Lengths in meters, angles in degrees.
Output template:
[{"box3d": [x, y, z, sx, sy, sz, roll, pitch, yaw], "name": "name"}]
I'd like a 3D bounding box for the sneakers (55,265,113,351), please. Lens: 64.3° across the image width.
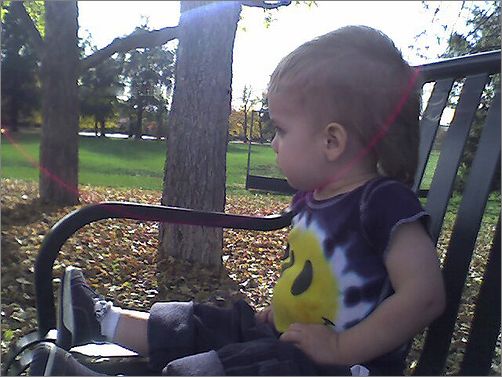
[{"box3d": [-0.648, 0.408, 1.569, 0.193, 0.376, 0.125, 1, -5, -3], "name": "sneakers"}]
